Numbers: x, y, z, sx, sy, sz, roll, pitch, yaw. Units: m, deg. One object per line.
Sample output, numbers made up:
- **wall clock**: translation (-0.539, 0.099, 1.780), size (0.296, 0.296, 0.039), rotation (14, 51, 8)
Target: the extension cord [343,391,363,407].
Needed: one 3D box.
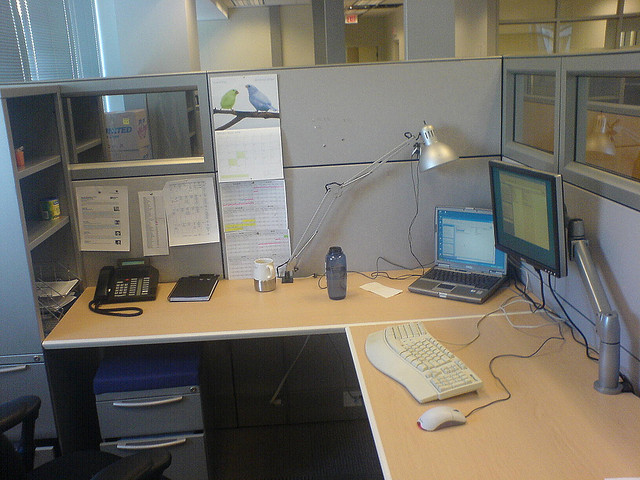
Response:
- **extension cord**: translation (0.210, 0.977, 3.185), size (0.112, 0.030, 0.127), rotation (-4, 55, -2)

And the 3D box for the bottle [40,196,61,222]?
- **bottle**: translation (-1.388, -0.163, 2.627), size (0.108, 0.114, 0.108), rotation (-7, 18, -41)

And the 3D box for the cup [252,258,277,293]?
- **cup**: translation (-0.290, 0.187, 2.719), size (0.121, 0.160, 0.163), rotation (-8, 17, -26)

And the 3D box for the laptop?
- **laptop**: translation (0.687, 0.054, 2.572), size (0.465, 0.365, 0.416), rotation (0, 17, 29)

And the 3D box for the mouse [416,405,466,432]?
- **mouse**: translation (0.417, 0.585, 1.735), size (0.131, 0.044, 0.080), rotation (-7, 16, -11)
